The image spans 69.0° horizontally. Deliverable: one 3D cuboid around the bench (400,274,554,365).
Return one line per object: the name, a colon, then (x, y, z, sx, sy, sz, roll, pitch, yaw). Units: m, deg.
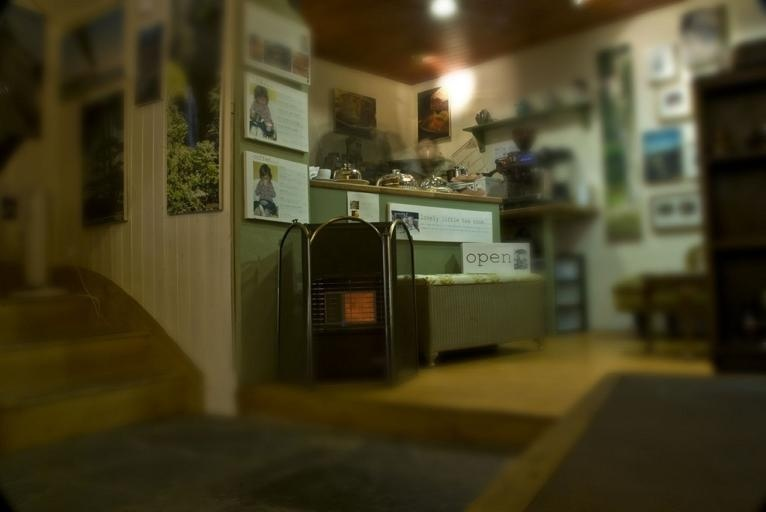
bench: (0.151, 0.091, 0.929, 0.280, 0.117, 0.091, 0, -2, -36)

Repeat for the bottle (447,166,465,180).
bottle: (0.063, -0.073, 0.501, 0.014, 0.010, 0.023, -1, -2, -17)
